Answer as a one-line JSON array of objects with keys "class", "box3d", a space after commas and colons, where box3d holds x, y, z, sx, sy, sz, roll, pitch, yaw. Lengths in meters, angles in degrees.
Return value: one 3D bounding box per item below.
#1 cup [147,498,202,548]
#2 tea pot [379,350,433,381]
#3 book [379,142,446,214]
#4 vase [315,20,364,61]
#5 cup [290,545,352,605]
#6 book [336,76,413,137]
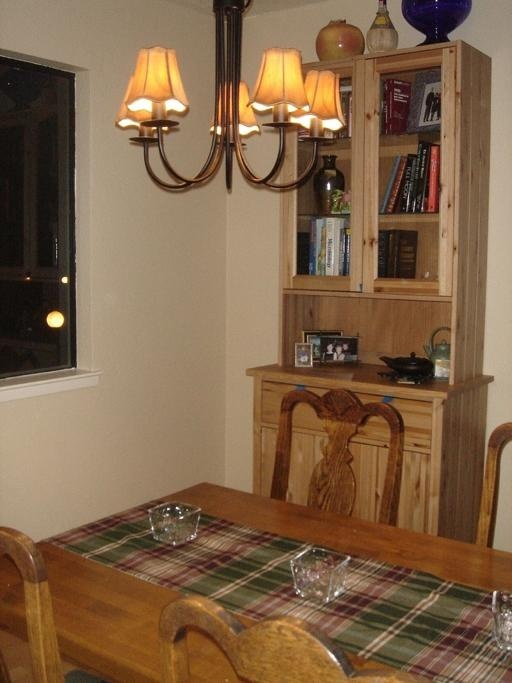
[{"class": "cup", "box3d": [-0.205, 0.434, 1.449, 0.090, 0.064, 0.091, 2, 5, 0]}, {"class": "tea pot", "box3d": [0.678, 0.112, 2.702, 0.217, 0.126, 0.235, 0, 2, 0]}, {"class": "book", "box3d": [0.666, -0.690, 2.582, 0.269, 0.297, 0.022, 1, 2, 41]}, {"class": "vase", "box3d": [0.356, -1.385, 2.816, 0.242, 0.209, 0.230, -6, 38, -8]}, {"class": "cup", "box3d": [0.126, 0.443, 1.163, 0.084, 0.073, 0.084, 1, 6, 0]}, {"class": "book", "box3d": [0.529, -1.046, 2.654, 0.335, 0.304, 0.056, 0, 2, 26]}]
